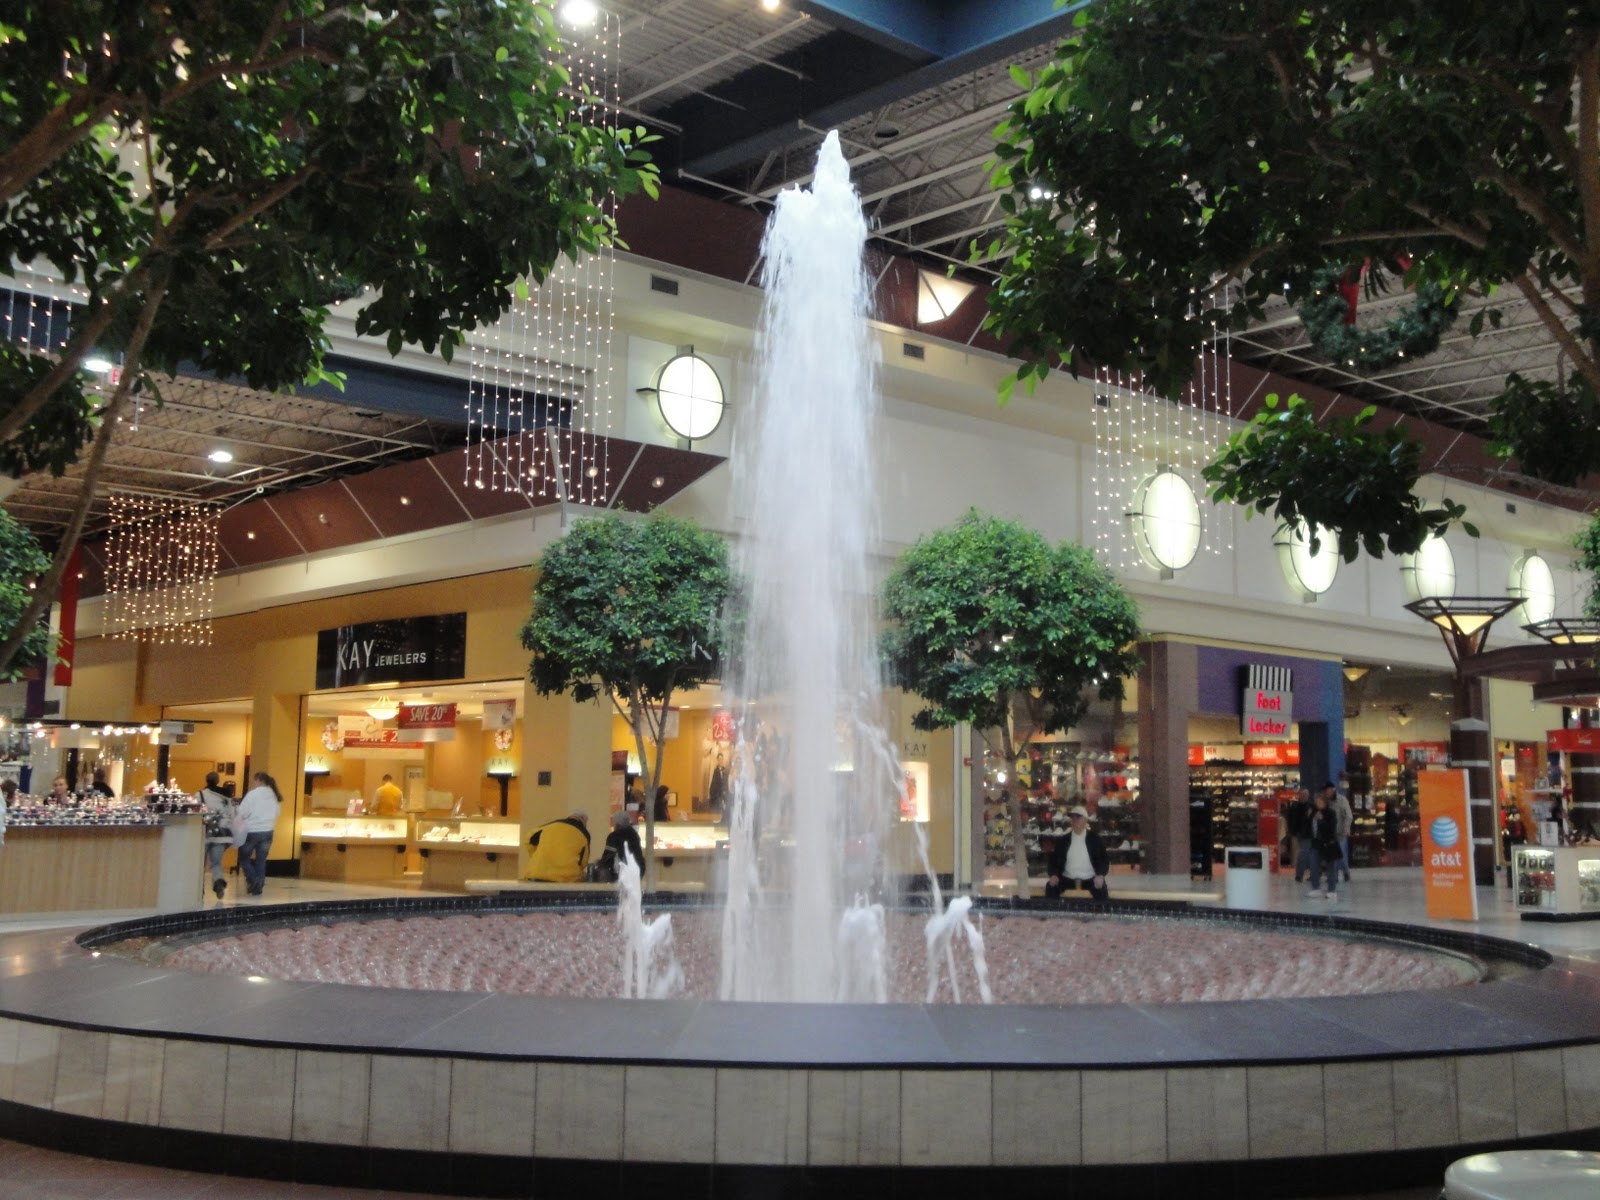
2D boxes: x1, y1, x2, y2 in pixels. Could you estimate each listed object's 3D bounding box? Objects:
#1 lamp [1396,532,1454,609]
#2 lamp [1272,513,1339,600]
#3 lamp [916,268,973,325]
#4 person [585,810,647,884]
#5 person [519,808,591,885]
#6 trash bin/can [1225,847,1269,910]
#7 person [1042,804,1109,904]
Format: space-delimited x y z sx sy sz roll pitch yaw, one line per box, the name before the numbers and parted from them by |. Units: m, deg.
lamp | 12.060 -0.440 25.685 1.589 1.747 0.516 9 -7 -32
lamp | 7.936 -0.538 21.026 1.566 1.701 0.490 0 3 -44
lamp | 2.504 -5.258 23.477 1.072 1.019 0.241 5 -8 -29
person | -2.048 3.036 15.570 0.333 0.857 0.486 10 -13 22
person | -2.997 3.090 16.485 0.712 0.837 0.897 3 -7 -13
trash bin/can | 5.748 3.539 17.053 0.517 0.690 0.803 -1 -7 18
person | 3.241 2.940 15.474 0.707 0.991 0.657 -3 -8 27
